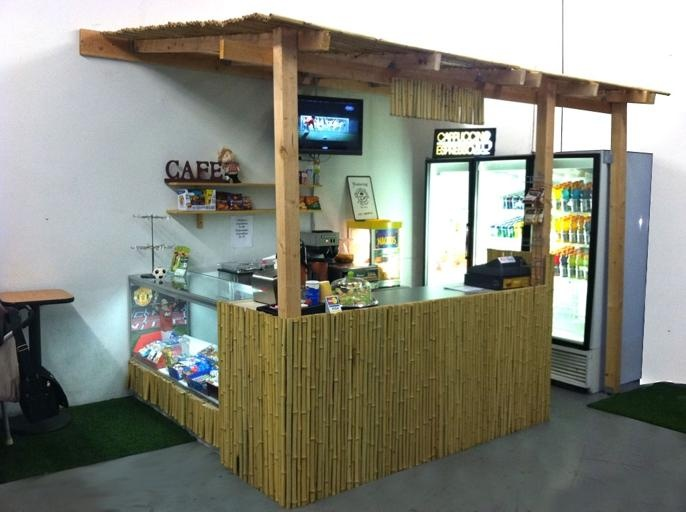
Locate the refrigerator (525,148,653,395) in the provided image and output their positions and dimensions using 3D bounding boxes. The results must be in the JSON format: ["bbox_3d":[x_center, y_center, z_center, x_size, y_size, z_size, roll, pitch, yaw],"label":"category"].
[{"bbox_3d":[2.971,0.167,6.839,1.223,2.721,1.008,4,13,12],"label":"refrigerator"}]

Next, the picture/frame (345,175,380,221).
[{"bbox_3d":[0.229,-0.768,7.965,0.523,0.656,0.046,-14,3,-42],"label":"picture/frame"}]

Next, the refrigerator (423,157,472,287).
[{"bbox_3d":[1.490,-0.449,8.292,0.604,2.100,0.184,-1,-31,14],"label":"refrigerator"}]

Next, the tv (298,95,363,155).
[{"bbox_3d":[-0.178,-1.572,7.128,1.069,0.761,0.110,-4,10,-28],"label":"tv"}]
